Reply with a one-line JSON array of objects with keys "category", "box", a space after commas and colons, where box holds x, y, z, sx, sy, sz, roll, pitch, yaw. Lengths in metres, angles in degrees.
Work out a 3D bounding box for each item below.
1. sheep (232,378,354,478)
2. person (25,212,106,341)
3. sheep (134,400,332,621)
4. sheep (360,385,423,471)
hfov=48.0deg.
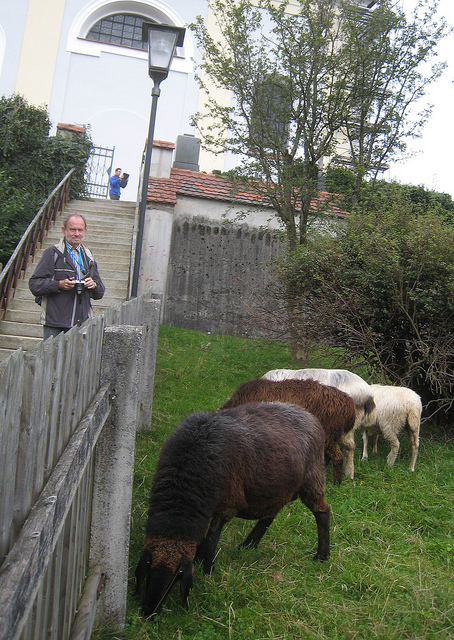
[{"category": "sheep", "box": [0.500, 1.196, 5.812, 2.024, 1.142, 0.593, 0, -3, 38]}, {"category": "person", "box": [-1.476, -0.415, 4.791, 0.696, 1.166, 0.629, 5, 4, -38]}, {"category": "sheep", "box": [0.056, 1.212, 3.446, 1.632, 1.190, 0.714, -7, 8, -43]}, {"category": "sheep", "box": [1.917, 1.331, 6.610, 0.545, 0.989, 1.287, 9, -8, -26]}]
